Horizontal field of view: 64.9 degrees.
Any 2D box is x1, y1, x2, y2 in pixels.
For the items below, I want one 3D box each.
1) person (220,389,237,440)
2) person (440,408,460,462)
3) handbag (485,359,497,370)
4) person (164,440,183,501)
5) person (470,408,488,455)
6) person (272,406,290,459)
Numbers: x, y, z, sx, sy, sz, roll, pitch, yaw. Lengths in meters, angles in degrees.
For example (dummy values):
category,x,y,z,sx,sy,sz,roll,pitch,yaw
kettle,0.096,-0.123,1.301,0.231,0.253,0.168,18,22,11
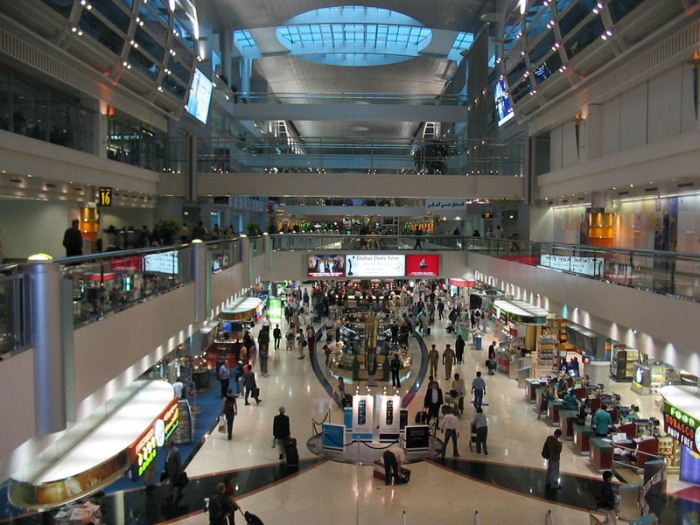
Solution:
category,x,y,z,sx,sy,sz,roll,pitch,yaw
person,-3.472,4.411,15.948,0.279,1.233,0.595,0,3,-11
person,2.821,4.692,15.349,0.446,1.168,1.194,1,3,11
handbag,5.604,4.055,21.851,0.422,0.438,0.324,-3,5,10
person,-4.100,4.838,12.842,0.368,1.162,0.652,-1,3,-20
person,3.543,4.596,14.985,0.434,1.122,0.586,1,3,13
person,-1.805,4.512,14.704,0.422,1.360,0.900,0,3,-7
